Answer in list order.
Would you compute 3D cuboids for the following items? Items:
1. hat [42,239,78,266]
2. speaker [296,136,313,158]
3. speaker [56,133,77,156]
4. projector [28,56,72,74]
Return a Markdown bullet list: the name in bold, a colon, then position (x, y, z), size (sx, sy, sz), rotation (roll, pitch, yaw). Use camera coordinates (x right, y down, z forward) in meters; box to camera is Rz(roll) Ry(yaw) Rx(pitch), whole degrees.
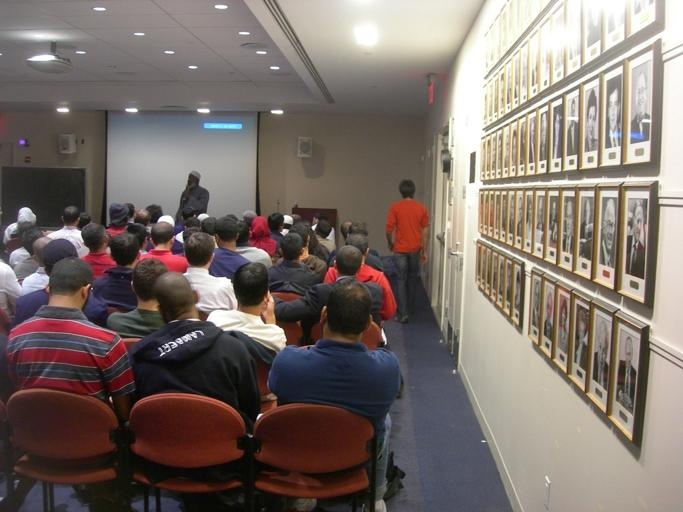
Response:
- **hat**: position (-1.851, -0.012, 3.186), size (0.177, 0.188, 0.228), rotation (-1, 10, -31)
- **speaker**: position (-0.805, -2.351, 10.571), size (0.345, 0.466, 0.274), rotation (4, 8, -1)
- **speaker**: position (-6.187, -2.513, 10.914), size (0.426, 0.484, 0.258), rotation (6, 8, 10)
- **projector**: position (-3.793, -2.526, 6.301), size (0.466, 0.236, 0.732), rotation (-2, 12, -38)
